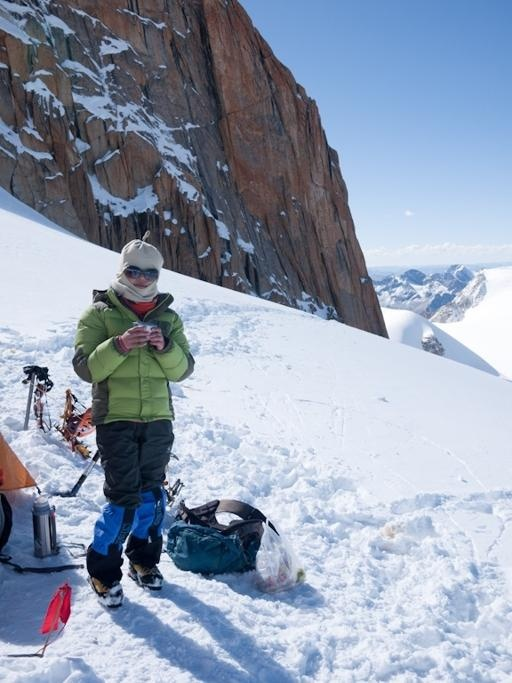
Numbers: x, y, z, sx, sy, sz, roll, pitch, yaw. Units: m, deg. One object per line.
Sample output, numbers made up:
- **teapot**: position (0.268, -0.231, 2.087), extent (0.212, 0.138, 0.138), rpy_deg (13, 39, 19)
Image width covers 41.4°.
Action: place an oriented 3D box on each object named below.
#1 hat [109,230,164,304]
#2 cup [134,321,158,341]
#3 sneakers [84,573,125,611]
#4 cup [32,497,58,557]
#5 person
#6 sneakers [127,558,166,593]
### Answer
- **hat**: position (-0.807, -0.461, 4.735), extent (0.362, 0.406, 0.289), rpy_deg (4, -9, -14)
- **cup**: position (-0.732, -0.079, 4.506), extent (0.158, 0.072, 0.149), rpy_deg (-6, 3, 0)
- **sneakers**: position (-1.022, 1.684, 4.567), extent (0.107, 0.113, 0.299), rpy_deg (23, -3, -39)
- **cup**: position (-1.593, 1.381, 5.084), extent (0.186, 0.399, 0.246), rpy_deg (-8, 4, -18)
- **person**: position (-0.845, 0.535, 4.693), extent (0.915, 1.959, 0.567), rpy_deg (-9, 4, -20)
- **sneakers**: position (-0.770, 1.672, 4.794), extent (0.273, 0.106, 0.128), rpy_deg (-9, -12, 42)
